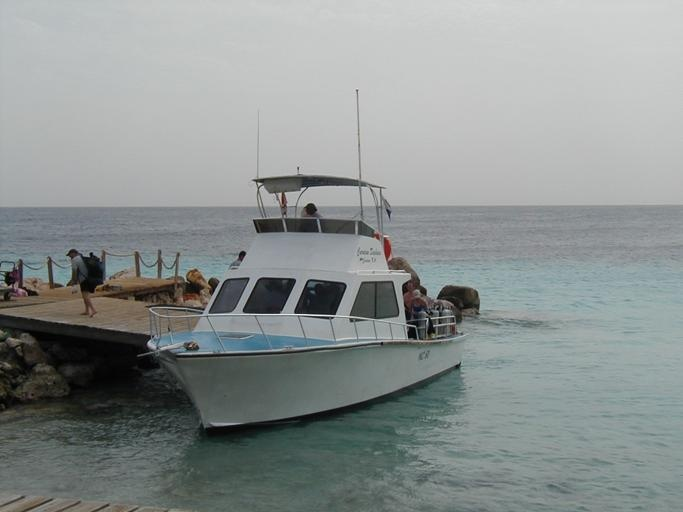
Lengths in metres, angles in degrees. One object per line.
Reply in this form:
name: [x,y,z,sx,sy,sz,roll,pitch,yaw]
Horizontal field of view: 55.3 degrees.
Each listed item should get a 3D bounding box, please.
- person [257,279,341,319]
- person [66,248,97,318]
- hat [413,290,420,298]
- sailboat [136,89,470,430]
person: [-0.510,0.954,14.536,1.204,0.801,0.224,13,-22,13]
person: [-7.003,0.722,17.650,0.522,1.690,1.011,-5,13,-34]
hat: [1.927,0.948,16.683,0.222,0.157,0.108,-1,13,23]
sailboat: [-0.642,-0.044,14.266,4.371,6.843,5.858,7,11,23]
